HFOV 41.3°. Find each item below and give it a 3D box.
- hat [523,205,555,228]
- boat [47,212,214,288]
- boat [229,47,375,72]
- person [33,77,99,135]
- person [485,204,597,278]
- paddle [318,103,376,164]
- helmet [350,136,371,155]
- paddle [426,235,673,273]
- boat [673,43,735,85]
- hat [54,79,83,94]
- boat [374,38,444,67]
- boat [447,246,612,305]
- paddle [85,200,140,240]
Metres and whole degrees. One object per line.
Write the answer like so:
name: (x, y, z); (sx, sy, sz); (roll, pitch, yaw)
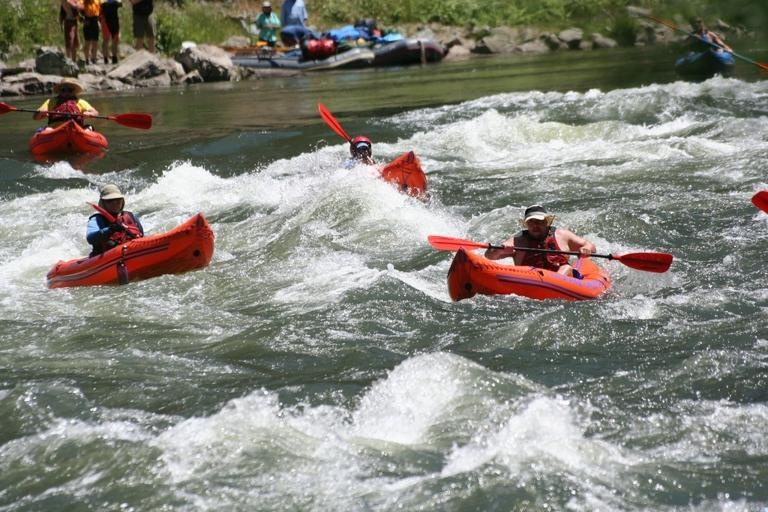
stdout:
hat: (2.099, -0.542, 14.027); (0.389, 0.277, 0.270); (-1, 15, 8)
boat: (-3.575, -0.081, 14.782); (2.089, 0.630, 1.091); (-18, -4, -4)
boat: (-2.601, -6.214, 33.082); (5.062, 0.744, 1.467); (-1, -4, -17)
person: (-6.286, -2.983, 20.168); (1.067, 0.572, 1.637); (-4, 15, -7)
person: (2.222, -0.178, 14.387); (0.828, 0.520, 0.898); (-21, 53, -15)
paddle: (-0.711, -2.214, 18.782); (0.441, 0.520, 2.451); (35, 11, -30)
helmet: (-0.426, -1.980, 18.011); (0.329, 0.309, 0.394); (2, 21, -5)
paddle: (2.330, -0.021, 14.097); (3.139, 0.399, 0.118); (5, 29, 8)
boat: (6.981, -4.171, 22.235); (1.087, 0.564, 1.831); (-2, 4, 6)
hat: (-6.265, -3.368, 20.257); (0.515, 0.322, 0.674); (-7, 15, -14)
boat: (0.865, -6.902, 34.597); (1.984, 0.558, 1.081); (-6, 15, -28)
boat: (1.837, 0.317, 13.421); (1.635, 0.514, 0.883); (2, -1, -15)
paddle: (-4.052, -0.519, 15.108); (1.068, 0.180, 0.186); (35, 12, 0)
